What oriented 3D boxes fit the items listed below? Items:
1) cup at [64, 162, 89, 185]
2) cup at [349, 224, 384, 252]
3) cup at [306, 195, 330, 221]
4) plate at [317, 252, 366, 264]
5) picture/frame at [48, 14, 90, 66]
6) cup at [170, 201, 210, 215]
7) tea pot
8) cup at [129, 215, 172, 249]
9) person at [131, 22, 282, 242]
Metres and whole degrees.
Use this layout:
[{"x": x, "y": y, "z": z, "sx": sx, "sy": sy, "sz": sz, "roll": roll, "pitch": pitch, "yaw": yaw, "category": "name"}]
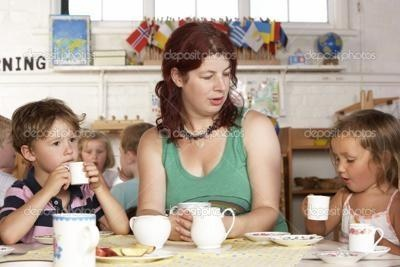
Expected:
[{"x": -0.565, "y": 0.186, "z": 2.032, "sx": 0.070, "sy": 0.094, "sz": 0.110, "roll": -8, "pitch": -7, "yaw": -23, "category": "cup"}, {"x": 0.637, "y": 0.409, "z": 1.700, "sx": 0.119, "sy": 0.104, "sz": 0.077, "roll": -3, "pitch": -8, "yaw": 16, "category": "cup"}, {"x": 0.504, "y": 0.328, "z": 1.968, "sx": 0.098, "sy": 0.111, "sz": 0.122, "roll": 2, "pitch": -5, "yaw": 1, "category": "cup"}, {"x": 0.496, "y": 0.437, "z": 1.560, "sx": 0.151, "sy": 0.038, "sz": 0.110, "roll": 0, "pitch": 3, "yaw": 15, "category": "plate"}, {"x": -0.787, "y": -0.552, "z": 2.648, "sx": 0.286, "sy": 0.369, "sz": 0.039, "roll": -1, "pitch": -5, "yaw": 0, "category": "picture/frame"}, {"x": -0.050, "y": 0.307, "z": 1.873, "sx": 0.132, "sy": 0.055, "sz": 0.102, "roll": 0, "pitch": -1, "yaw": 18, "category": "cup"}, {"x": 0.054, "y": 0.386, "z": 1.759, "sx": 0.171, "sy": 0.147, "sz": 0.131, "roll": 0, "pitch": -8, "yaw": 4, "category": "tea pot"}, {"x": -0.200, "y": 0.397, "z": 1.770, "sx": 0.155, "sy": 0.125, "sz": 0.140, "roll": -3, "pitch": -17, "yaw": 6, "category": "cup"}, {"x": 0.018, "y": 0.017, "z": 2.213, "sx": 0.700, "sy": 1.040, "sz": 0.731, "roll": -3, "pitch": -2, "yaw": 17, "category": "person"}]
